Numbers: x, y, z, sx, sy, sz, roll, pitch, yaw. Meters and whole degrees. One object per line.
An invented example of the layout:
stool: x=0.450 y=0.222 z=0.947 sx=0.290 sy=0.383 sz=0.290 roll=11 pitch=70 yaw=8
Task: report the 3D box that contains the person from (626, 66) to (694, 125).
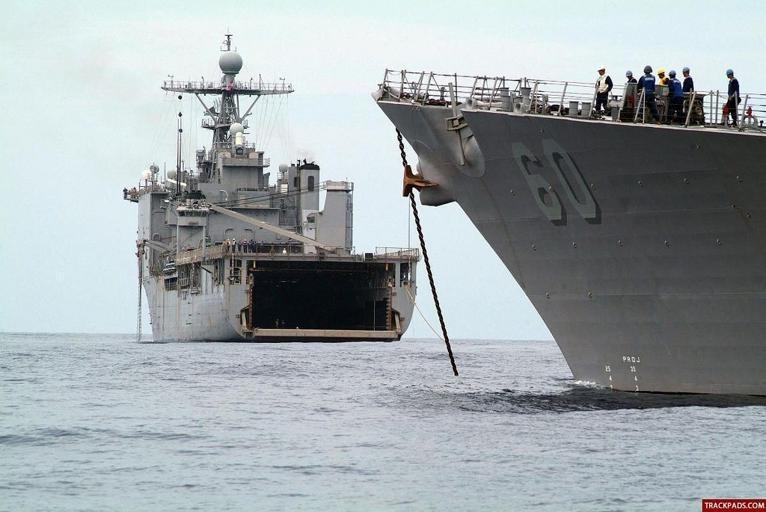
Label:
person: x=7.726 y=-4.338 z=43.930 sx=1.406 sy=1.628 sz=0.958 roll=-2 pitch=-6 yaw=-4
